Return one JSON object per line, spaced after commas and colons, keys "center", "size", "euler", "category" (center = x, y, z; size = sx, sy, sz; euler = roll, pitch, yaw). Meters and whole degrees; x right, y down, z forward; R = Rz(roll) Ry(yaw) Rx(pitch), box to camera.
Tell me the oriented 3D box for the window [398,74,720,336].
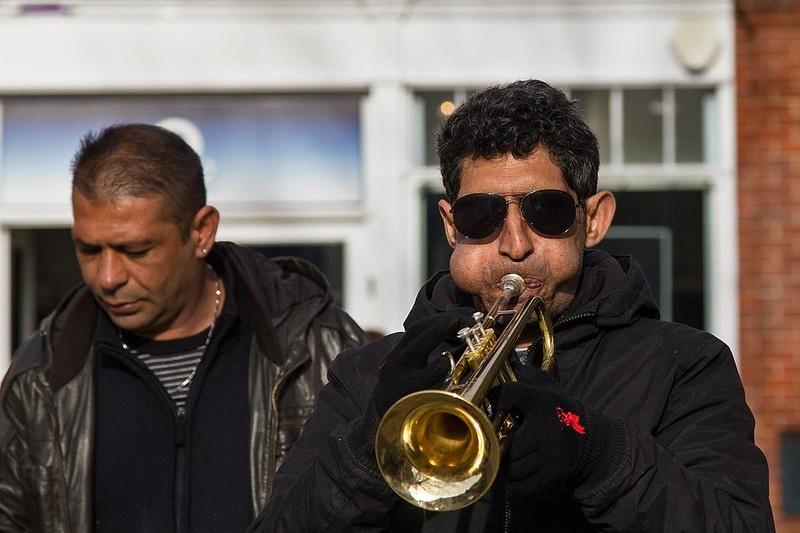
{"center": [1.010, -0.454, 11.540], "size": [2.081, 2.116, 0.102], "euler": [0, -2, 2], "category": "window"}
